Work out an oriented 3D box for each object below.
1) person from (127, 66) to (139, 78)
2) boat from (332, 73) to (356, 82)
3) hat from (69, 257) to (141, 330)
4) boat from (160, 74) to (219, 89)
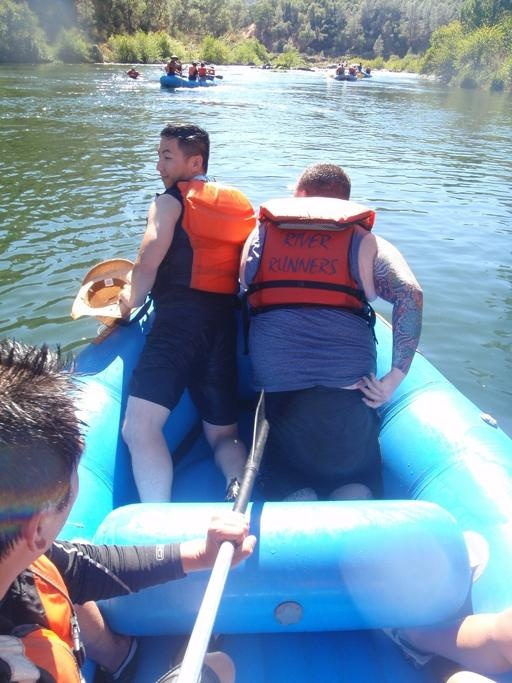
[{"bbox_3d":[-4.906,-10.624,23.938,0.448,0.345,0.852,-6,26,-12],"label":"person"},{"bbox_3d":[5.018,-14.960,34.158,1.231,0.386,1.470,4,26,8],"label":"boat"},{"bbox_3d":[-0.724,-0.240,2.826,0.263,0.167,0.398,33,52,7],"label":"hat"},{"bbox_3d":[-2.463,-9.264,21.477,0.736,0.430,2.144,18,31,32],"label":"boat"}]
